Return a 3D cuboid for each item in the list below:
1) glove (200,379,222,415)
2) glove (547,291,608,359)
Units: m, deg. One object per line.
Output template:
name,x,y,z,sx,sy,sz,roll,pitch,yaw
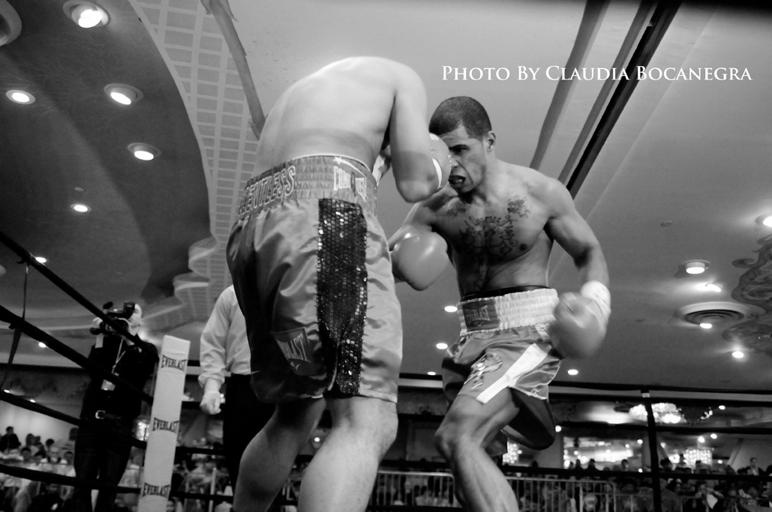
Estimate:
glove,-1.099,0.891,3.299,0.150,0.237,0.087,-10,-19,13
glove,0.822,0.321,2.263,0.213,0.288,0.133,7,-22,-16
